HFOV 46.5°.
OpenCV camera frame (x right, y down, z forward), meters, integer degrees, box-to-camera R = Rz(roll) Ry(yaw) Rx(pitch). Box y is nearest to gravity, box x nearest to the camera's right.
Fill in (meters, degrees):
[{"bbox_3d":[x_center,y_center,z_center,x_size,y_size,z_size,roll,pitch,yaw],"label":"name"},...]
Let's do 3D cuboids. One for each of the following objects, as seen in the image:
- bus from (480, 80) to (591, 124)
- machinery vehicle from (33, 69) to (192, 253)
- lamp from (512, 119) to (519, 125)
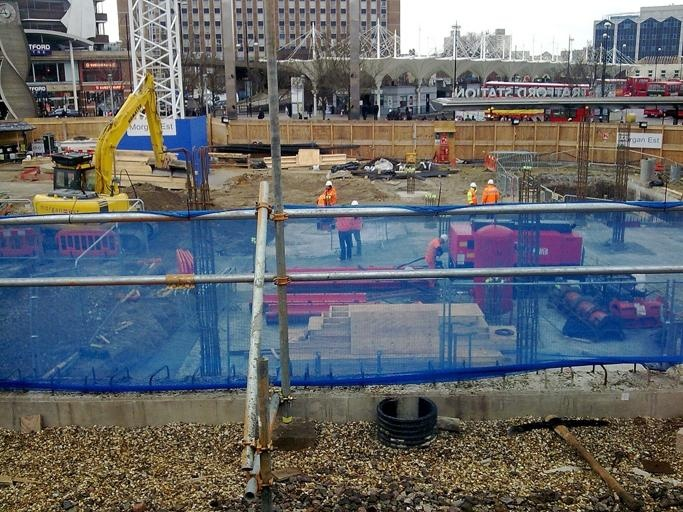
[{"bbox_3d":[15.973,-12.795,65.755,9.680,3.155,2.440,0,13,-1],"label":"bus"},{"bbox_3d":[-6.728,-2.833,22.761,4.535,4.296,1.400,-5,-3,21],"label":"machinery vehicle"},{"bbox_3d":[9.512,-7.330,43.529,0.400,0.279,0.721,4,16,22],"label":"lamp"}]
